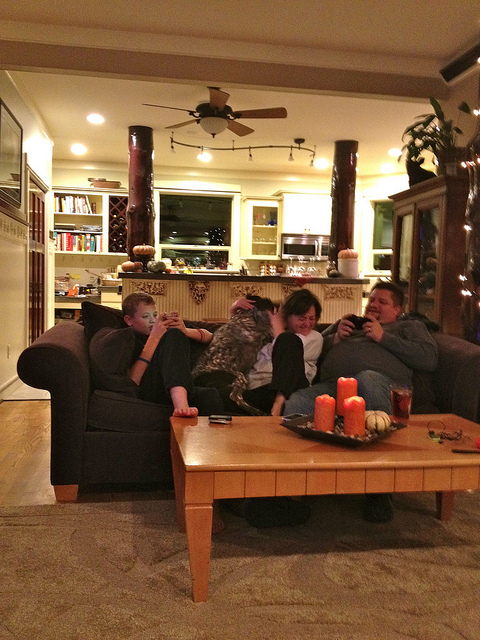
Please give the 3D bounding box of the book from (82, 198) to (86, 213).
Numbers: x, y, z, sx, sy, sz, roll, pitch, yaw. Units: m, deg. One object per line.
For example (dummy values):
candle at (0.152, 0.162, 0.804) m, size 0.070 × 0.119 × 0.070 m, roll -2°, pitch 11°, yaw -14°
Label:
book at (-2.311, -1.690, 7.476) m, size 0.054 × 0.189 × 0.016 m, roll 0°, pitch -13°, yaw -23°

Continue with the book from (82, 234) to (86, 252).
book at (-2.334, -1.151, 7.526) m, size 0.040 × 0.161 × 0.165 m, roll 3°, pitch 1°, yaw -11°

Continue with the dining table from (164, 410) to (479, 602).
dining table at (0.255, 0.490, 1.430) m, size 0.873 × 0.364 × 0.461 m, roll 1°, pitch -2°, yaw -10°

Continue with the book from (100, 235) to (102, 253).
book at (-2.080, -1.142, 7.546) m, size 0.034 × 0.255 × 0.021 m, roll 2°, pitch -2°, yaw -15°

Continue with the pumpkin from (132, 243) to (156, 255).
pumpkin at (-0.933, -0.682, 4.926) m, size 0.181 × 0.114 × 0.221 m, roll 1°, pitch -2°, yaw -7°

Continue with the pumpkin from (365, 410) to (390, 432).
pumpkin at (0.405, 0.291, 1.489) m, size 0.060 × 0.033 × 0.059 m, roll -10°, pitch 10°, yaw -38°

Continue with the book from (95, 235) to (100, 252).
book at (-2.137, -1.144, 7.552) m, size 0.083 × 0.260 × 0.031 m, roll 1°, pitch -2°, yaw 20°

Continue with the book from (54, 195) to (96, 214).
book at (-2.479, -1.715, 7.469) m, size 0.523 × 0.292 × 0.087 m, roll 1°, pitch -2°, yaw -11°

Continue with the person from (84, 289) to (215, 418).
person at (-0.344, 0.109, 2.144) m, size 0.516 × 0.407 × 0.734 m, roll 0°, pitch 6°, yaw -31°

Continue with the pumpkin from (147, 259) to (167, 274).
pumpkin at (-0.763, -0.478, 4.626) m, size 0.171 × 0.127 × 0.172 m, roll 2°, pitch -2°, yaw -15°

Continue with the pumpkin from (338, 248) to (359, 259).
pumpkin at (1.076, -0.687, 5.048) m, size 0.137 × 0.097 × 0.135 m, roll 0°, pitch -5°, yaw 7°

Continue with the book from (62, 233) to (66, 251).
book at (-2.597, -1.155, 7.451) m, size 0.050 × 0.250 × 0.018 m, roll 2°, pitch -2°, yaw -18°

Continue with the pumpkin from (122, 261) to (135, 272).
pumpkin at (-1.069, -0.514, 4.819) m, size 0.123 × 0.097 × 0.100 m, roll -9°, pitch 17°, yaw -32°

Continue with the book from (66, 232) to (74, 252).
book at (-2.523, -1.157, 7.492) m, size 0.111 × 0.273 × 0.051 m, roll 2°, pitch -2°, yaw -17°

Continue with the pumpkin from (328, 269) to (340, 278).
pumpkin at (0.918, -0.457, 5.056) m, size 0.119 × 0.085 × 0.172 m, roll 0°, pitch -2°, yaw 29°

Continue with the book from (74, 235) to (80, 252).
book at (-2.425, -1.127, 7.506) m, size 0.072 × 0.242 × 0.039 m, roll 2°, pitch -2°, yaw -31°

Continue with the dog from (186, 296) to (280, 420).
dog at (0.053, 0.160, 2.326) m, size 0.225 × 0.477 × 0.356 m, roll 34°, pitch -21°, yaw -25°

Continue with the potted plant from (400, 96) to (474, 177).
potted plant at (1.336, -1.208, 3.405) m, size 0.414 × 0.608 × 0.426 m, roll 1°, pitch -2°, yaw 20°
